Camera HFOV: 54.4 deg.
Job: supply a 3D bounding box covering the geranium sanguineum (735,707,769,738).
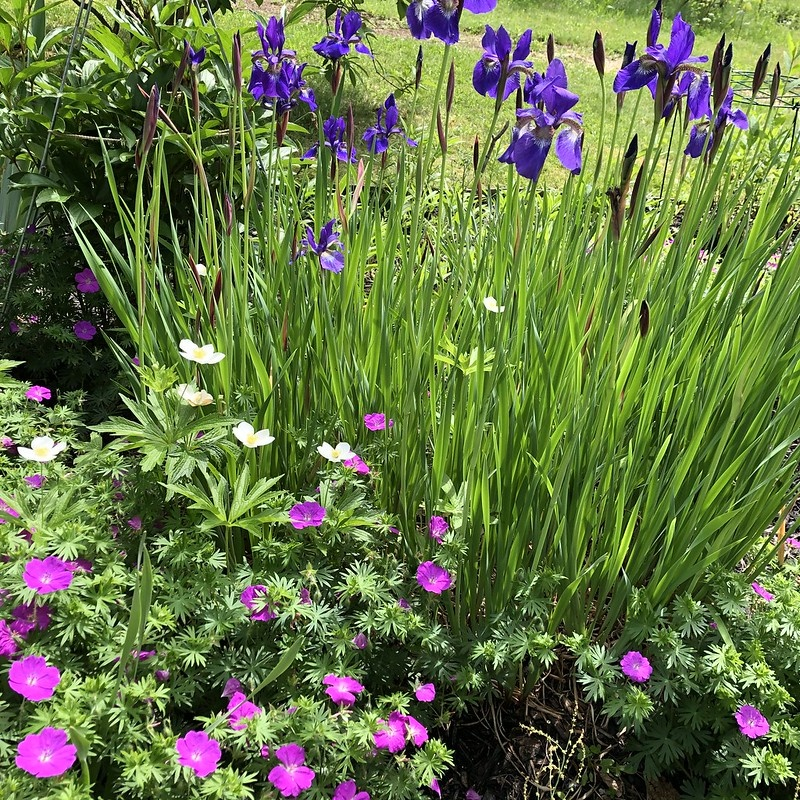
[{"bbox_3d":[0.767,0.697,1.684,0.058,0.026,0.073,5,47,3],"label":"geranium sanguineum"}]
